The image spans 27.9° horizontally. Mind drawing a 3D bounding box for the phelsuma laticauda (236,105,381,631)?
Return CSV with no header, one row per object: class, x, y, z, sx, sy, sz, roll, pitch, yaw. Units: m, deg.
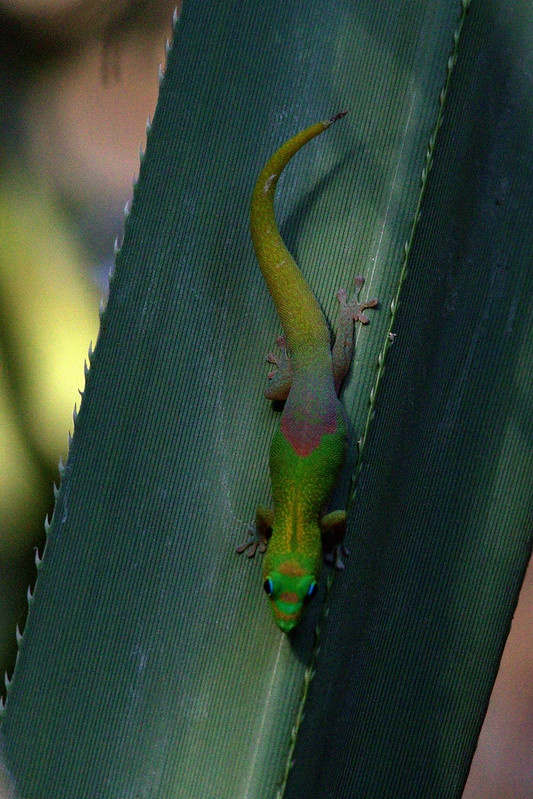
phelsuma laticauda,0.118,-0.088,2.642,0.327,1.233,0.234,1,3,-30
